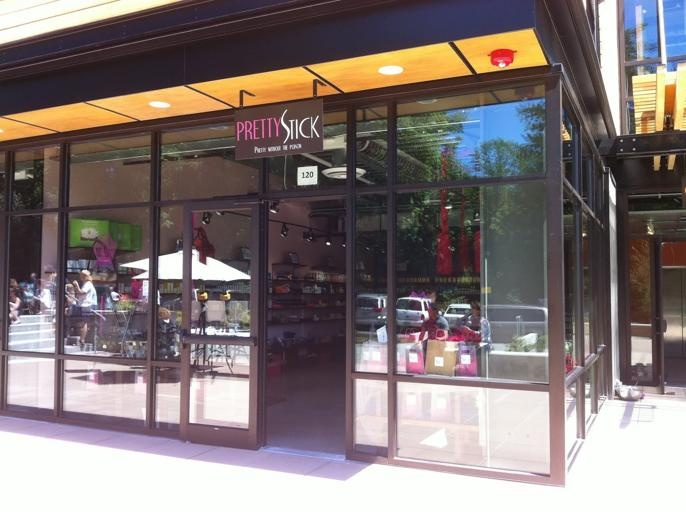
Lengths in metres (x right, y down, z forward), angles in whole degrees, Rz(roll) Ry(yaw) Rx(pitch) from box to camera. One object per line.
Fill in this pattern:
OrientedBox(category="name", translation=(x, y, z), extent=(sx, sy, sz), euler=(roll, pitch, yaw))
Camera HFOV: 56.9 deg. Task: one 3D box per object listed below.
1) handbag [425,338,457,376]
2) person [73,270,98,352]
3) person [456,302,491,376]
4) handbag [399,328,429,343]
OrientedBox(category="handbag", translation=(1.091, 1.102, 6.902), extent=(0.398, 0.446, 0.158), euler=(2, 0, 23))
OrientedBox(category="person", translation=(-3.512, 0.711, 8.566), extent=(0.469, 1.062, 0.144), euler=(2, 3, 32))
OrientedBox(category="person", translation=(1.403, 0.884, 6.784), extent=(0.358, 0.780, 0.099), euler=(1, 2, 13))
OrientedBox(category="handbag", translation=(0.771, 0.874, 7.016), extent=(0.222, 0.224, 0.139), euler=(-6, -4, 20))
